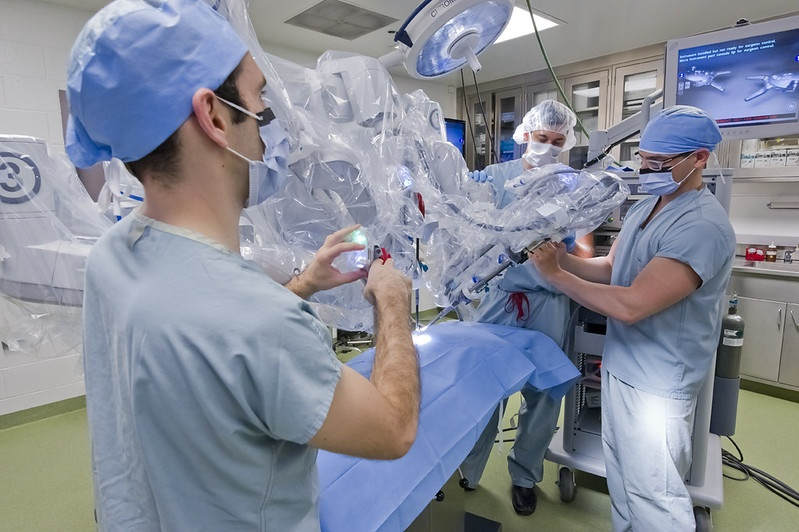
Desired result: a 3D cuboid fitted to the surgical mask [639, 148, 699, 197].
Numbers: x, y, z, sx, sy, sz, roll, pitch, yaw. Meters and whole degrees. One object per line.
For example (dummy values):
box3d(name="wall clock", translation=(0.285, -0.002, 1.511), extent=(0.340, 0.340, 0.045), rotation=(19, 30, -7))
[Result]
box3d(name="surgical mask", translation=(1.139, -0.381, 2.400), extent=(0.181, 0.100, 0.148), rotation=(-31, 16, 1))

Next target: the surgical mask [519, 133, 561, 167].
box3d(name="surgical mask", translation=(0.745, -0.605, 2.972), extent=(0.175, 0.123, 0.212), rotation=(-2, 14, -5))

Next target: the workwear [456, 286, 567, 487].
box3d(name="workwear", translation=(0.655, 0.623, 2.971), extent=(0.350, 1.265, 0.565), rotation=(-6, 47, 18))

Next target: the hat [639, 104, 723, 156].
box3d(name="hat", translation=(1.175, -0.559, 2.389), extent=(0.260, 0.159, 0.196), rotation=(4, 10, 0))

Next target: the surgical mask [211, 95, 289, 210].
box3d(name="surgical mask", translation=(-0.369, -0.302, 1.590), extent=(0.232, 0.140, 0.232), rotation=(13, 32, -32))

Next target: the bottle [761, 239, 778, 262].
box3d(name="bottle", translation=(2.659, -0.097, 4.045), extent=(0.076, 0.127, 0.128), rotation=(5, 14, 33))

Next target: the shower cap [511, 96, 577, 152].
box3d(name="shower cap", translation=(0.763, -0.764, 3.025), extent=(0.311, 0.311, 0.145), rotation=(1, 36, -12))

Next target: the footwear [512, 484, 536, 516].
box3d(name="footwear", translation=(0.635, 1.171, 2.847), extent=(0.089, 0.063, 0.148), rotation=(-1, 10, 0))

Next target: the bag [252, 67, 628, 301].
box3d(name="bag", translation=(0.157, -0.332, 2.042), extent=(0.748, 0.546, 1.105), rotation=(6, 24, 38))
